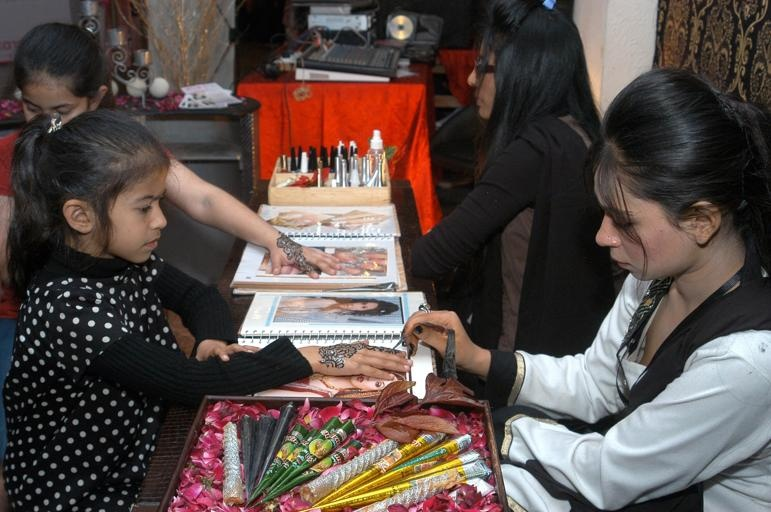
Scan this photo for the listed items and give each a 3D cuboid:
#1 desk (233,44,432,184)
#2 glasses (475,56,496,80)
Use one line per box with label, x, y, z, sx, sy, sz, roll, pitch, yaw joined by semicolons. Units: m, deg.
desk;-0.349;-1.109;4.116;1.331;0.700;1.340;12;37;28
glasses;0.351;-0.666;2.033;0.052;0.055;0.072;-2;18;-3
